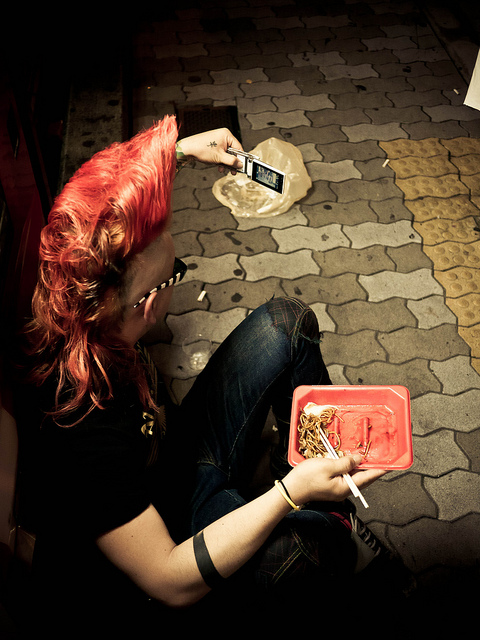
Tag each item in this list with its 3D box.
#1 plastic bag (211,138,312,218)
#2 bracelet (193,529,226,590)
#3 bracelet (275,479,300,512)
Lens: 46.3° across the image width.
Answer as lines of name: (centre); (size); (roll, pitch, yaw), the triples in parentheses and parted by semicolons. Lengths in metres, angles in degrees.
plastic bag: (0.153, -0.867, 3.882); (0.638, 0.248, 0.541); (-37, 89, -16)
bracelet: (-0.090, 0.628, 1.502); (0.080, 0.111, 0.114); (-20, 92, -22)
bracelet: (0.125, 0.484, 1.521); (0.018, 0.071, 0.072); (-34, 92, -9)
